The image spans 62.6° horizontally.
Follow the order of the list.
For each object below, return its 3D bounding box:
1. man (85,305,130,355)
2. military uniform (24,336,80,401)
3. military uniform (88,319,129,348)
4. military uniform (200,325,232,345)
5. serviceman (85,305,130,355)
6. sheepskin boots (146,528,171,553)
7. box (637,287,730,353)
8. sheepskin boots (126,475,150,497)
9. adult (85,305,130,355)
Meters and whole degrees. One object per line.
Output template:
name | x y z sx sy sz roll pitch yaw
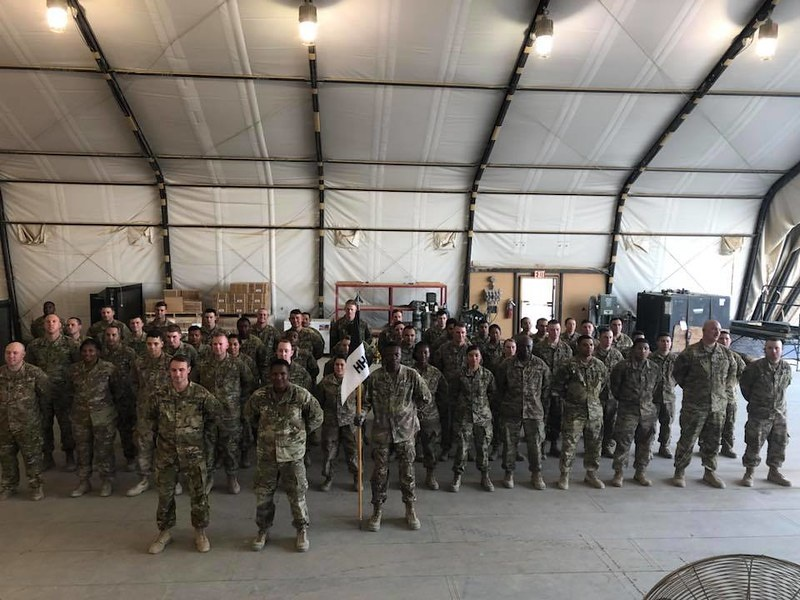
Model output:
man | -5.047 0.491 11.386 0.820 0.937 0.382 1 9 3
military uniform | -5.102 1.026 9.624 1.082 1.031 0.431 -2 -2 -22
military uniform | -4.737 0.547 10.687 0.485 0.331 0.149 -1 -1 -1
military uniform | -2.961 0.553 10.468 0.358 0.305 0.181 0 -1 -6
serviceman | -5.047 0.491 11.386 0.820 0.938 0.382 1 9 3
sheepskin boots | -2.968 3.038 8.119 0.142 0.243 0.397 1 -10 6
box | 6.141 0.424 14.299 1.700 1.386 0.865 0 3 -18
sheepskin boots | -3.656 2.652 9.215 0.148 0.223 0.374 0 -8 21
adult | -5.047 0.491 11.386 0.820 0.938 0.382 1 9 3
